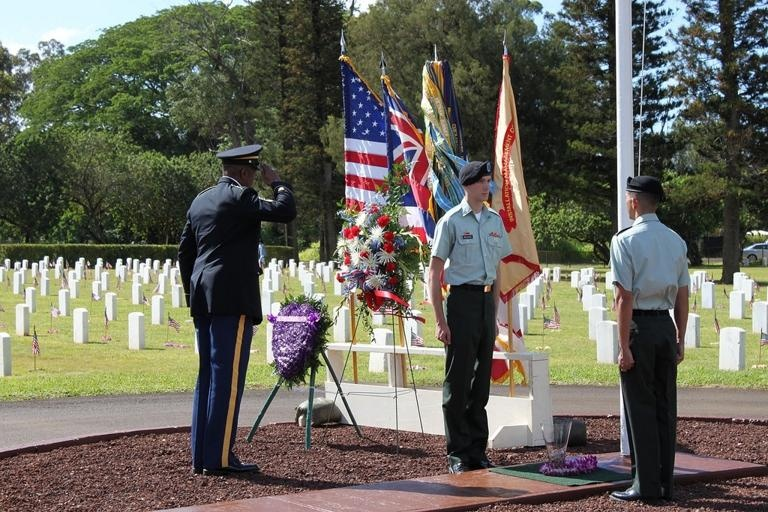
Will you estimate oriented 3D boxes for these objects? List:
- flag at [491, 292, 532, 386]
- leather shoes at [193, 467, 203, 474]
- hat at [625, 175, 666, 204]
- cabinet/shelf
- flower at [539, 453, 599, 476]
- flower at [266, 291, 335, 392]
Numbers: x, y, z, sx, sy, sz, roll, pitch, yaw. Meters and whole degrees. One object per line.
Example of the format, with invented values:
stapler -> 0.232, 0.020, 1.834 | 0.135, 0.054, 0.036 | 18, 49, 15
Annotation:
flag -> 3.006, 1.829, 28.517 | 0.998, 2.698, 0.140 | -5, 14, -4
leather shoes -> -4.166, 4.765, 26.510 | 0.144, 0.101, 0.141 | 1, -2, -8
hat -> 5.703, -1.491, 25.885 | 0.697, 0.252, 0.571 | 20, 14, 38
cabinet/shelf -> 1.377, 3.356, 28.344 | 4.814, 1.669, 2.485 | 0, 1, 27
flower -> 4.140, 4.608, 26.235 | 0.803, 0.254, 0.557 | -4, 0, -1
flower -> -2.063, 1.949, 27.928 | 1.869, 1.959, 0.970 | 5, -8, 23
